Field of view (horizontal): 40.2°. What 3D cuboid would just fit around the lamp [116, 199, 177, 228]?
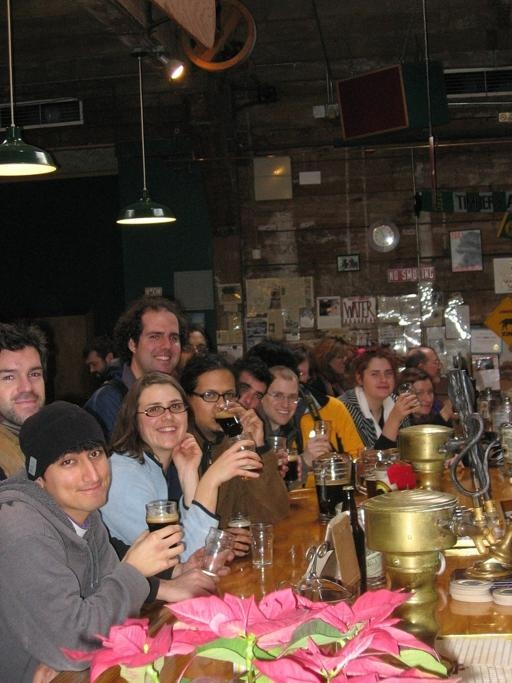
[{"bbox_3d":[-0.798,-0.950,5.290,0.468,0.171,0.430,-1,2,6],"label":"lamp"}]

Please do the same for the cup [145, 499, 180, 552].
[{"bbox_3d":[-0.213,0.426,1.642,0.084,0.077,0.077,-2,3,0],"label":"cup"}]

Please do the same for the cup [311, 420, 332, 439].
[{"bbox_3d":[0.312,0.409,3.289,0.098,0.129,0.088,1,-20,6],"label":"cup"}]

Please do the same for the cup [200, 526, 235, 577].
[{"bbox_3d":[-0.091,0.485,1.612,0.058,0.109,0.073,-5,1,-30],"label":"cup"}]

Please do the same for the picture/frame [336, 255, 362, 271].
[{"bbox_3d":[0.911,-0.771,6.767,0.186,0.129,0.019,1,1,7],"label":"picture/frame"}]

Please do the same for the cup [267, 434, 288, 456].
[{"bbox_3d":[0.087,0.447,3.014,0.073,0.068,0.078,1,6,0],"label":"cup"}]

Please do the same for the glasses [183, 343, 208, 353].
[{"bbox_3d":[-0.453,0.043,5.298,0.148,0.038,0.136,-5,-1,20],"label":"glasses"}]

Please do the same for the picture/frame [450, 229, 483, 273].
[{"bbox_3d":[2.014,-0.879,6.684,0.340,0.391,0.043,-6,10,-11],"label":"picture/frame"}]
